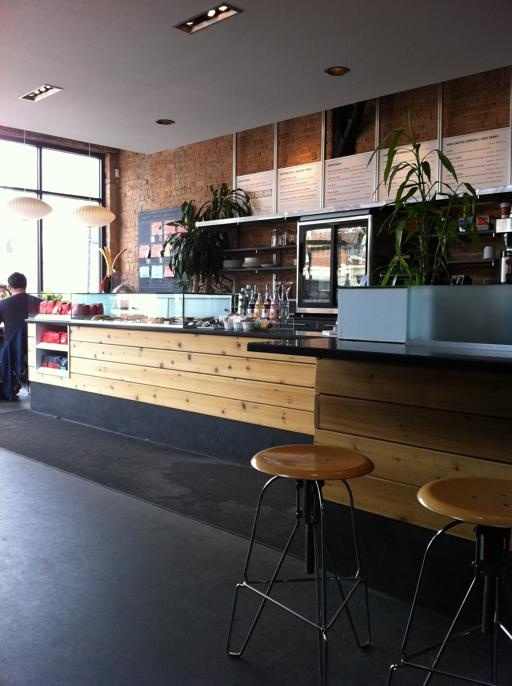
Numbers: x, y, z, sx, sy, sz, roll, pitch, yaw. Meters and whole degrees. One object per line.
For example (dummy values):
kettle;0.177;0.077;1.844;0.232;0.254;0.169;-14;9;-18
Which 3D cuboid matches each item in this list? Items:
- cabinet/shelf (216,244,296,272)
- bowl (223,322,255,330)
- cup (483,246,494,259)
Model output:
cabinet/shelf;0.057;-1.037;6.457;1.253;0.325;0.423;1;3;38
bowl;-0.128;-0.115;3.666;0.274;0.069;0.110;0;3;34
cup;2.033;-0.784;4.532;0.097;0.123;0.117;-7;6;-40
